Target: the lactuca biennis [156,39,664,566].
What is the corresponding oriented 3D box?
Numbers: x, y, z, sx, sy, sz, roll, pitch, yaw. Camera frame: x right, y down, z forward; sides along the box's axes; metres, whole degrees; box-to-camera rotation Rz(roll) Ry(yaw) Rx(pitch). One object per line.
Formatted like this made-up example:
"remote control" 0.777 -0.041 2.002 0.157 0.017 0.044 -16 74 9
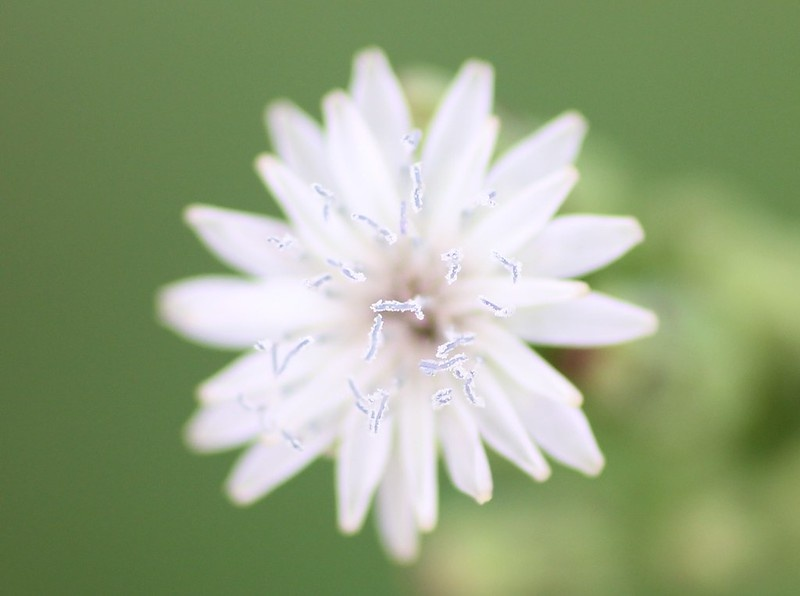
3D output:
"lactuca biennis" 0.016 0.028 1.549 0.821 0.667 0.648 27 45 16
